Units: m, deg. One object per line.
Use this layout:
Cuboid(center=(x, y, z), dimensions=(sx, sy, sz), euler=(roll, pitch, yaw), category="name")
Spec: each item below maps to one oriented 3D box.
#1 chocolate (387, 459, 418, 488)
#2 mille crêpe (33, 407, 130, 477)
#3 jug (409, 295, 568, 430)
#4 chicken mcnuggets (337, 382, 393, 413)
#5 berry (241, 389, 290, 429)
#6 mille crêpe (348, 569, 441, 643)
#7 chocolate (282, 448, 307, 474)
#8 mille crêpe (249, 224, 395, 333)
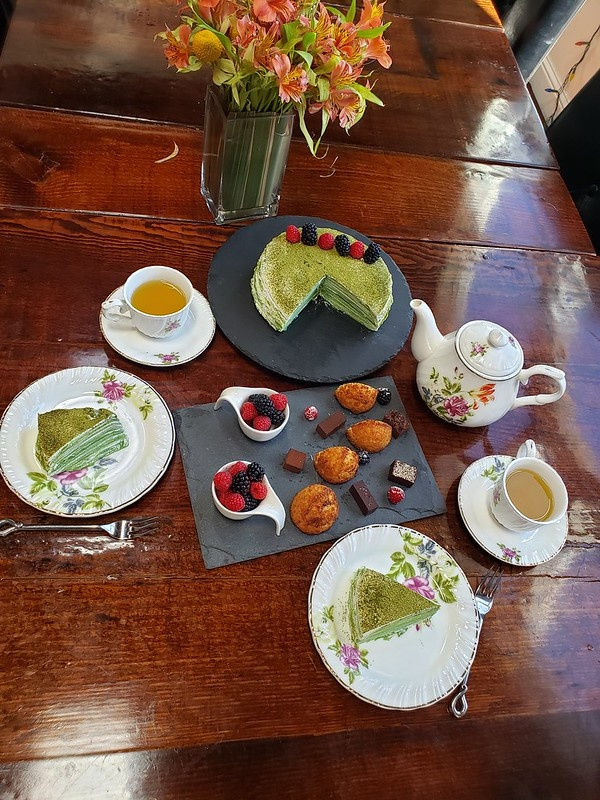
Cuboid(center=(0.254, 0.183, 1.546), dimensions=(0.089, 0.041, 0.060), euler=(-1, 46, -18), category="chocolate")
Cuboid(center=(-0.491, 0.089, 1.394), dimensions=(0.161, 0.041, 0.156), euler=(-28, 63, -38), category="mille crêpe")
Cuboid(center=(0.472, -0.079, 1.668), dimensions=(0.419, 0.274, 0.271), euler=(32, 54, 12), category="jug")
Cuboid(center=(0.178, -0.005, 1.640), dimensions=(0.113, 0.036, 0.082), euler=(24, 61, 14), category="chicken mcnuggets")
Cuboid(center=(-0.087, 0.029, 1.538), dimensions=(0.084, 0.053, 0.097), euler=(4, 35, -5), category="berry")
Cuboid(center=(0.197, 0.445, 1.358), dimensions=(0.187, 0.056, 0.156), euler=(3, 48, -5), category="mille crêpe")
Cuboid(center=(-0.010, 0.146, 1.499), dimensions=(0.057, 0.033, 0.054), euler=(12, 43, -10), category="chocolate")
Cuboid(center=(0.053, -0.342, 1.820), dimensions=(0.356, 0.180, 0.329), euler=(1, 42, -2), category="mille crêpe")
